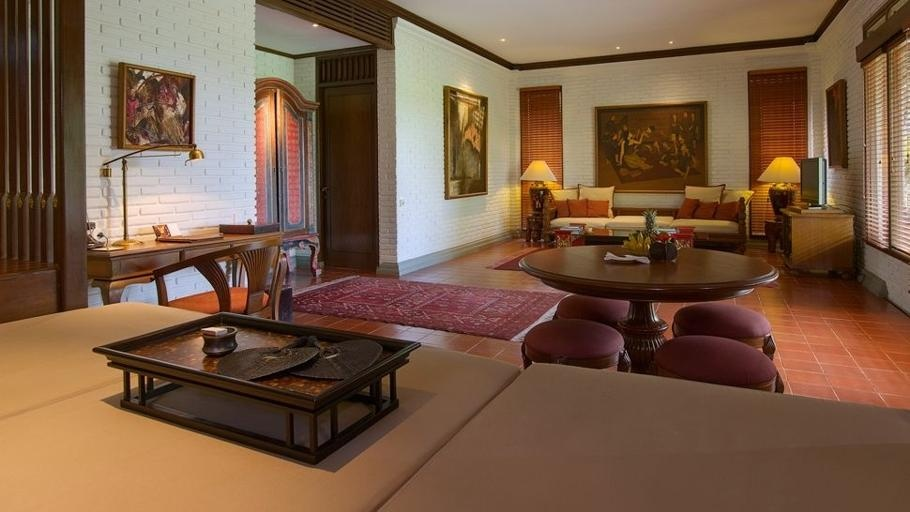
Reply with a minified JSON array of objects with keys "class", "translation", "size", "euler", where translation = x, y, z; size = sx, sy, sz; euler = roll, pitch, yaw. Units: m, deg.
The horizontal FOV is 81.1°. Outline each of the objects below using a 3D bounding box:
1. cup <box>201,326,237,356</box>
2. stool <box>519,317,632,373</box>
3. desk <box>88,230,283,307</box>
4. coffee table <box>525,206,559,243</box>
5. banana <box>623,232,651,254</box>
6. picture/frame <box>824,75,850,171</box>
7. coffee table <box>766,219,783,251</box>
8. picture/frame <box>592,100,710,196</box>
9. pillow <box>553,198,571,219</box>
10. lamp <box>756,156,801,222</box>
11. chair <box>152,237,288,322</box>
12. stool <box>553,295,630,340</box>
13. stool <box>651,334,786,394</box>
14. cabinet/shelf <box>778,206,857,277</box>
[{"class":"cup","translation":[-0.832,0.302,1.878],"size":[0.110,0.067,0.106],"euler":[1,1,0]},{"class":"stool","translation":[0.782,0.615,3.570],"size":[0.685,0.289,0.624],"euler":[0,15,-6]},{"class":"desk","translation":[-2.643,0.213,5.075],"size":[0.668,0.810,1.915],"euler":[11,10,20]},{"class":"coffee table","translation":[1.558,-0.620,10.747],"size":[0.630,0.584,0.555],"euler":[-5,2,2]},{"class":"banana","translation":[1.420,-0.093,4.098],"size":[0.186,0.084,0.179],"euler":[-28,21,-30]},{"class":"picture/frame","translation":[5.715,-1.901,7.844],"size":[0.081,1.218,1.290],"euler":[-7,10,25]},{"class":"coffee table","translation":[5.427,-0.321,8.969],"size":[0.362,0.461,0.324],"euler":[-5,-1,17]},{"class":"picture/frame","translation":[3.909,-2.094,10.292],"size":[2.323,1.519,0.100],"euler":[1,5,24]},{"class":"pillow","translation":[2.090,-0.899,10.358],"size":[0.415,0.436,0.229],"euler":[-5,-13,-6]},{"class":"lamp","translation":[5.611,-1.146,9.057],"size":[0.798,0.967,0.746],"euler":[0,7,22]},{"class":"chair","translation":[-1.820,0.166,4.070],"size":[0.639,0.793,0.679],"euler":[8,10,22]},{"class":"stool","translation":[1.043,0.448,4.029],"size":[0.376,0.146,0.358],"euler":[3,3,23]},{"class":"stool","translation":[1.435,0.585,2.894],"size":[0.523,0.225,0.489],"euler":[4,7,36]},{"class":"cabinet/shelf","translation":[5.182,-0.341,7.590],"size":[0.702,0.890,1.179],"euler":[0,22,30]}]
